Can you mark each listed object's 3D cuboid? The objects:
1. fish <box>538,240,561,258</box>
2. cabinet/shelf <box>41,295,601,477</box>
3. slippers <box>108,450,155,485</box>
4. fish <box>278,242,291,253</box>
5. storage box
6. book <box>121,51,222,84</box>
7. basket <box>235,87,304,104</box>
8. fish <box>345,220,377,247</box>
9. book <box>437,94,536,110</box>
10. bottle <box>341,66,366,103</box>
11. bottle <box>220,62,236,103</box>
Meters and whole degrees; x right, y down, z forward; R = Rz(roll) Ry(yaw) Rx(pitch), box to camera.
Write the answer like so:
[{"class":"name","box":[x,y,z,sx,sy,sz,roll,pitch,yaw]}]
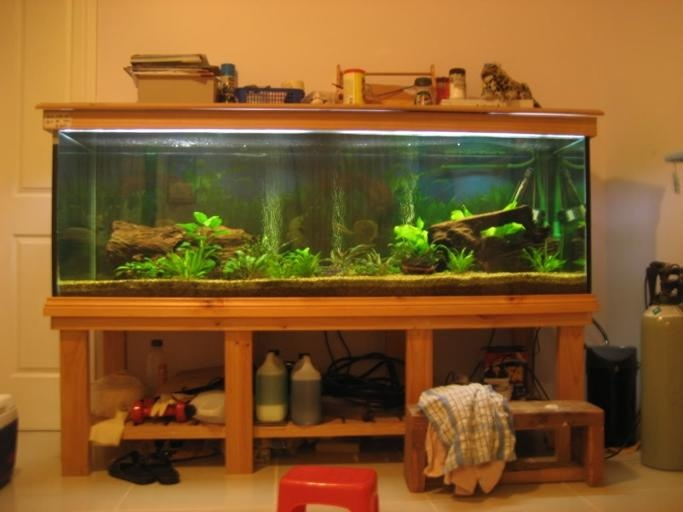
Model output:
[{"class":"fish","box":[1.306,-0.052,4.193,0.138,0.096,0.028,-4,13,-19]},{"class":"cabinet/shelf","box":[-0.073,0.784,4.491,3.280,1.069,0.839,-1,2,-1]},{"class":"slippers","box":[-1.247,1.300,4.102,0.343,0.061,0.238,7,14,25]},{"class":"fish","box":[-0.345,-0.049,4.085,0.025,0.082,0.050,11,-27,17]},{"class":"storage box","box":[-1.051,-1.057,4.247,0.406,0.195,0.403,-1,6,-9]},{"class":"book","box":[-1.057,-1.182,4.211,0.559,0.153,0.152,2,13,7]},{"class":"basket","box":[-0.461,-1.046,4.348,0.442,0.097,0.116,-2,13,-10]},{"class":"fish","box":[0.138,-0.142,4.096,0.172,0.155,0.042,1,13,0]},{"class":"book","box":[0.950,-0.971,4.236,0.645,0.083,0.381,2,13,4]},{"class":"bottle","box":[0.079,-1.086,4.277,0.142,0.215,0.152,0,13,0]},{"class":"bottle","box":[-0.734,-1.131,4.373,0.107,0.241,0.134,-2,13,-8]}]
